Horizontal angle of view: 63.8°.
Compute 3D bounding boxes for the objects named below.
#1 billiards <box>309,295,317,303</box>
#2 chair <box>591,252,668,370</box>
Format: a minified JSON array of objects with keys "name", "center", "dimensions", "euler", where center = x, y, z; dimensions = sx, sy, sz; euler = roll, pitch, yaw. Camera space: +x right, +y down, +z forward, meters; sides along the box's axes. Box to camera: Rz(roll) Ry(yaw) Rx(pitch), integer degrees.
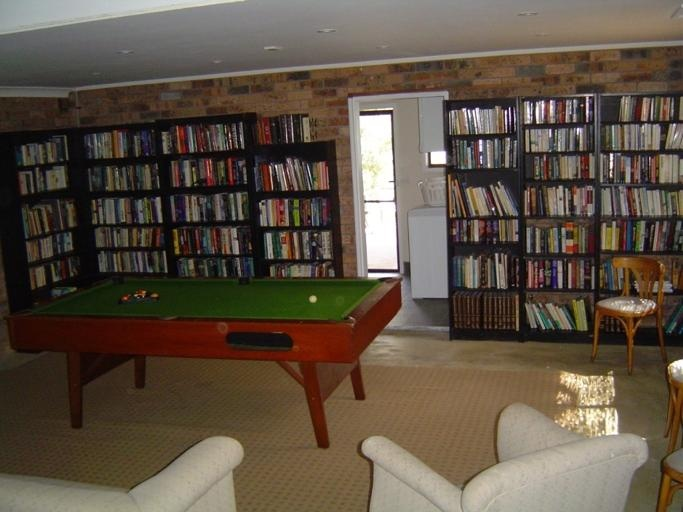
[{"name":"billiards","center":[-0.217,0.339,4.295],"dimensions":[0.073,0.049,0.032],"euler":[-1,-3,-8]},{"name":"chair","center":[2.950,0.531,5.645],"dimensions":[0.682,1.067,1.120],"euler":[0,8,26]}]
